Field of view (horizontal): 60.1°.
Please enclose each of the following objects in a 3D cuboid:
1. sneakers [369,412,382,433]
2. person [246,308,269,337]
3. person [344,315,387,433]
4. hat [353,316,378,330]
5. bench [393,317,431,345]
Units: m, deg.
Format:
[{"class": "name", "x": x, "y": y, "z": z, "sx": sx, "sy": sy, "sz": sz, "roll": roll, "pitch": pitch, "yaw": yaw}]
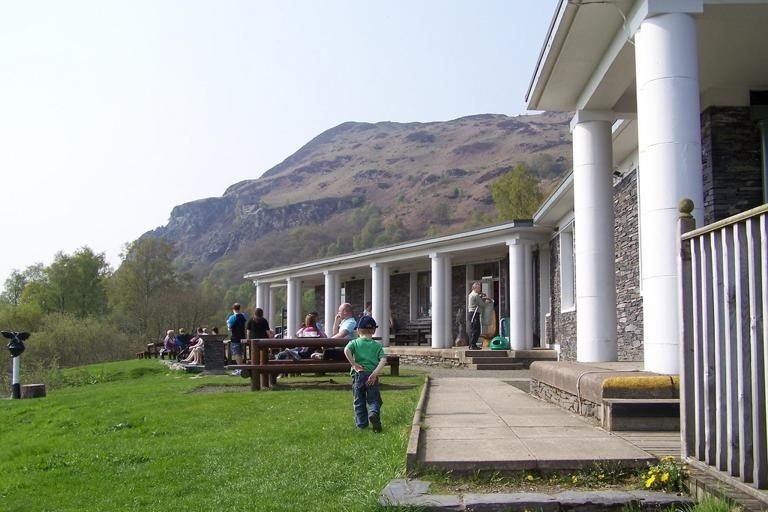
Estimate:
[{"class": "sneakers", "x": -0.109, "y": 2.143, "z": 8.582, "sx": 0.104, "sy": 0.280, "sz": 0.113, "roll": -16, "pitch": -3, "yaw": 9}, {"class": "person", "x": -2.885, "y": 1.511, "z": 15.223, "sx": 0.488, "sy": 0.768, "sz": 1.188, "roll": 0, "pitch": -10, "yaw": -11}, {"class": "person", "x": -0.256, "y": 1.528, "z": 8.823, "sx": 0.504, "sy": 1.539, "sz": 0.661, "roll": -1, "pitch": -9, "yaw": -2}, {"class": "hat", "x": -0.231, "y": 0.878, "z": 8.806, "sx": 0.217, "sy": 0.197, "sz": 0.375, "roll": -2, "pitch": -10, "yaw": 2}, {"class": "bench", "x": 1.048, "y": 3.018, "z": 26.260, "sx": 0.887, "sy": 0.654, "sz": 1.391, "roll": -2, "pitch": -4, "yaw": 26}]
